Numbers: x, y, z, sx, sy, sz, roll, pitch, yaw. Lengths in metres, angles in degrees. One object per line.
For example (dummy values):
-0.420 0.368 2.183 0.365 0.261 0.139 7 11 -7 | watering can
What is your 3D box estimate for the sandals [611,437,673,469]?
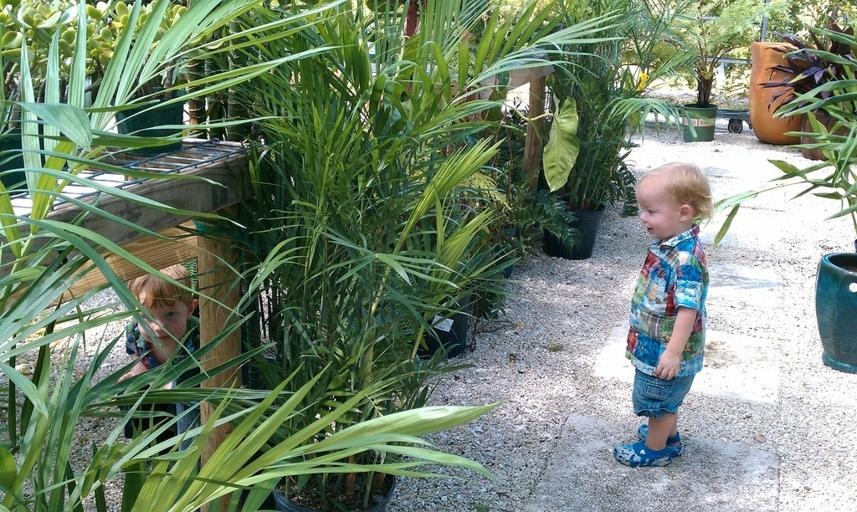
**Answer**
0.846 0.777 2.714 0.195 0.083 0.100 2 10 6 | sandals
